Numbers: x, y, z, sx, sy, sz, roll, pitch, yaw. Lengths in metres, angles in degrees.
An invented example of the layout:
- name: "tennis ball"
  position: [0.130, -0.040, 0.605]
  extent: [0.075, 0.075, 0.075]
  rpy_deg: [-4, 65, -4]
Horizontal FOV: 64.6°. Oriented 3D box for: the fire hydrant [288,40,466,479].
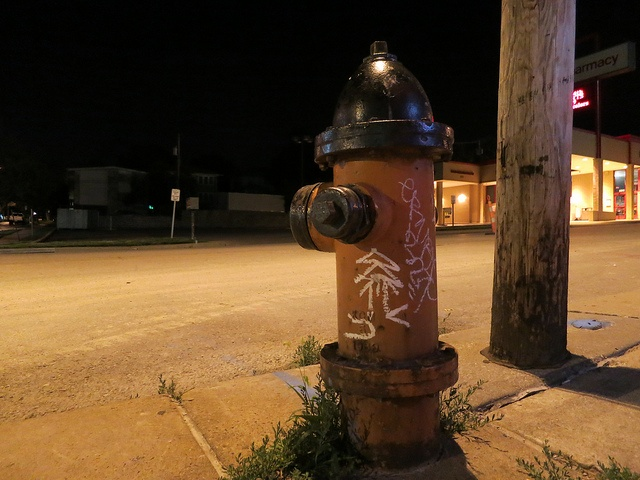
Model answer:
- name: "fire hydrant"
  position: [0.389, 0.081, 3.223]
  extent: [0.959, 2.629, 0.566]
  rpy_deg: [-1, 3, -6]
